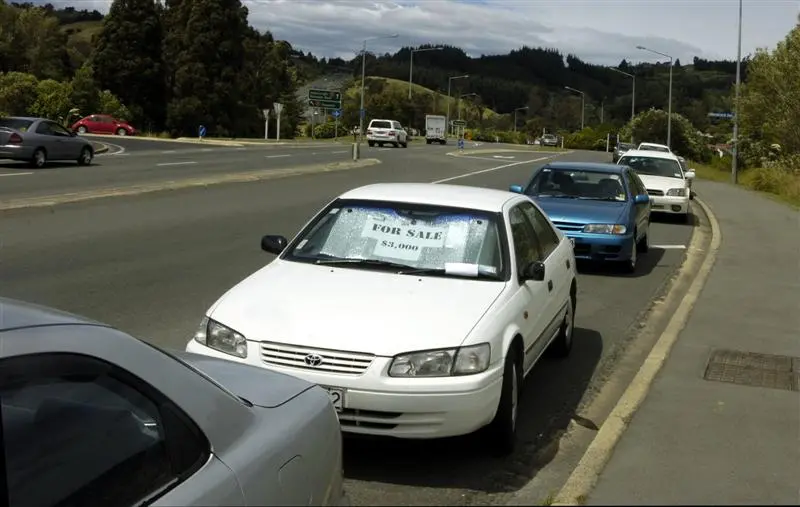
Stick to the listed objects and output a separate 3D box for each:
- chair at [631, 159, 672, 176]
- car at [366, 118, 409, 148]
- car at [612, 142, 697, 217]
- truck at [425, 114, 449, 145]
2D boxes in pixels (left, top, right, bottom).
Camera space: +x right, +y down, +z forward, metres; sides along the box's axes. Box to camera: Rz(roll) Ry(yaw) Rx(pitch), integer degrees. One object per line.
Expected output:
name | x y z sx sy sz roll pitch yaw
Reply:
chair | 7.573 -2.573 19.204 0.724 0.551 1.334 4 4 27
car | -1.094 -9.772 52.637 2.940 2.069 3.445 3 12 1
car | 7.863 -2.220 19.441 1.737 1.391 3.875 2 6 21
truck | 3.920 -13.337 69.439 1.738 2.897 3.213 -3 13 -26
